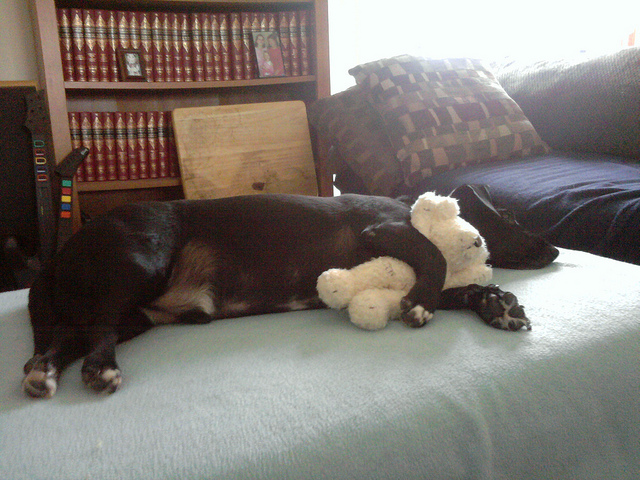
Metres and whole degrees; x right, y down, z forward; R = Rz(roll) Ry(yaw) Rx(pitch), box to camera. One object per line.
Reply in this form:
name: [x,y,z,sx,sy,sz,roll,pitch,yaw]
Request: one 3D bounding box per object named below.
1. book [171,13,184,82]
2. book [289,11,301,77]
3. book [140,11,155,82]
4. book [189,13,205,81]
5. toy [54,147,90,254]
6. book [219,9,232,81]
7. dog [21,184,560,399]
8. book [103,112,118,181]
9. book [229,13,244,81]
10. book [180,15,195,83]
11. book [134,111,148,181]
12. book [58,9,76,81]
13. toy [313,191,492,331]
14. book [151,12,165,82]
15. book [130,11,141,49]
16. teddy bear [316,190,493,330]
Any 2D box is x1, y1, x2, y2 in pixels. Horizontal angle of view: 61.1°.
book: [-0.683,-0.919,2.605,0.053,0.225,0.226,-1,-10,-7]
book: [-0.131,-1.014,2.799,0.057,0.247,0.247,3,7,8]
book: [-0.810,-0.910,2.549,0.063,0.260,0.259,-1,-8,-11]
book: [-0.594,-0.929,2.630,0.055,0.238,0.238,-2,-1,-7]
toy: [-1.006,-0.152,2.169,0.140,0.459,0.090,3,8,-19]
book: [-0.461,-0.963,2.686,0.061,0.255,0.254,-6,9,-17]
dog: [-0.031,0.072,1.148,1.112,0.401,0.296,-5,-19,-12]
book: [-0.993,-0.442,2.570,0.056,0.238,0.238,-4,7,-21]
book: [-0.413,-0.966,2.687,0.057,0.242,0.241,-2,10,-12]
book: [-0.665,-0.946,2.745,0.083,0.371,0.370,2,5,-15]
book: [-0.860,-0.460,2.616,0.058,0.245,0.243,-1,0,-13]
book: [-1.123,-0.866,2.403,0.066,0.294,0.047,-6,20,-6]
toy: [0.164,0.032,1.113,0.340,0.179,0.217,-26,18,-3]
book: [-0.768,-0.921,2.568,0.057,0.243,0.243,-1,11,-9]
book: [-0.855,-0.975,2.512,0.062,0.161,0.021,-13,22,-23]
teddy bear: [0.153,0.025,1.136,0.374,0.199,0.231,-16,14,8]
